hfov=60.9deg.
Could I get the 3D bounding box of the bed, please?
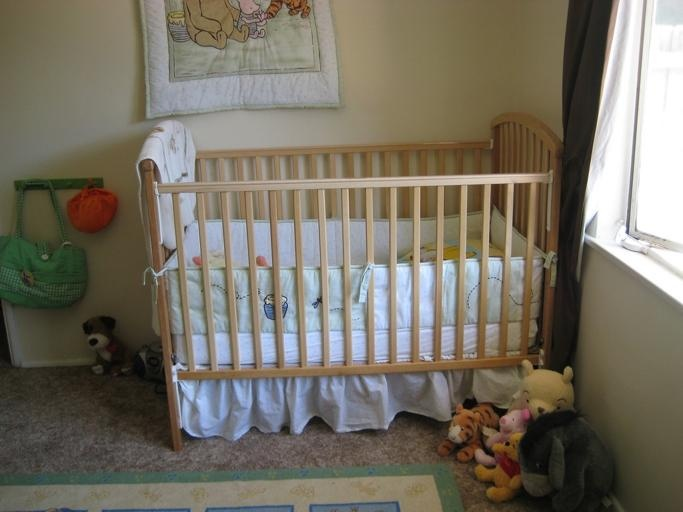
[{"bbox_3d":[0.039,0.024,2.936,1.837,1.356,0.996,-3,18,-3],"label":"bed"}]
